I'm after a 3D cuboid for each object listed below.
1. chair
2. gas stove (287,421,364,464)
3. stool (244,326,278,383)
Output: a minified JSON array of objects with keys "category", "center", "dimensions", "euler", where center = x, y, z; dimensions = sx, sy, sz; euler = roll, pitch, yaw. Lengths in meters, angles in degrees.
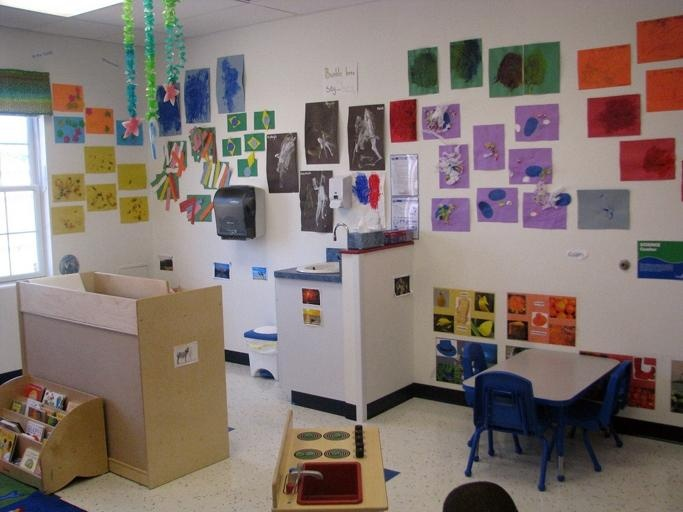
[{"category":"chair","center":[1.656,1.199,4.331],"dimensions":[0.713,0.658,1.109],"euler":[8,14,44]},{"category":"gas stove","center":[-0.081,1.008,3.007],"dimensions":[0.419,0.107,0.313],"euler":[-2,10,-2]},{"category":"stool","center":[-0.823,1.075,6.127],"dimensions":[0.510,0.519,0.497],"euler":[4,11,4]}]
